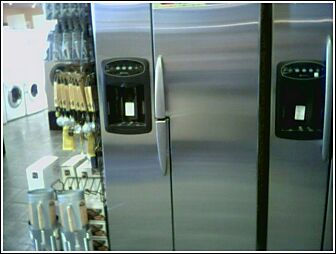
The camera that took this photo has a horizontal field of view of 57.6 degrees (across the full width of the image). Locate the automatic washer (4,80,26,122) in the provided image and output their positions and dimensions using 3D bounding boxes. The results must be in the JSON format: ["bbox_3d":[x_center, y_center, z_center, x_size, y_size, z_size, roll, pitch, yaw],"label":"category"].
[{"bbox_3d":[-3.678,-0.642,7.381,0.317,0.658,0.807,-3,3,6],"label":"automatic washer"}]

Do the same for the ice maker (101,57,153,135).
[{"bbox_3d":[-0.300,-0.242,2.359,0.406,0.616,0.297,0,12,4],"label":"ice maker"}]

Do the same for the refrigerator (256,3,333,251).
[{"bbox_3d":[0.903,0.062,2.136,0.467,1.757,0.298,-2,4,21],"label":"refrigerator"}]

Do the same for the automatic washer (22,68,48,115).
[{"bbox_3d":[-3.446,-0.919,7.988,0.362,1.178,1.017,-3,3,10],"label":"automatic washer"}]
